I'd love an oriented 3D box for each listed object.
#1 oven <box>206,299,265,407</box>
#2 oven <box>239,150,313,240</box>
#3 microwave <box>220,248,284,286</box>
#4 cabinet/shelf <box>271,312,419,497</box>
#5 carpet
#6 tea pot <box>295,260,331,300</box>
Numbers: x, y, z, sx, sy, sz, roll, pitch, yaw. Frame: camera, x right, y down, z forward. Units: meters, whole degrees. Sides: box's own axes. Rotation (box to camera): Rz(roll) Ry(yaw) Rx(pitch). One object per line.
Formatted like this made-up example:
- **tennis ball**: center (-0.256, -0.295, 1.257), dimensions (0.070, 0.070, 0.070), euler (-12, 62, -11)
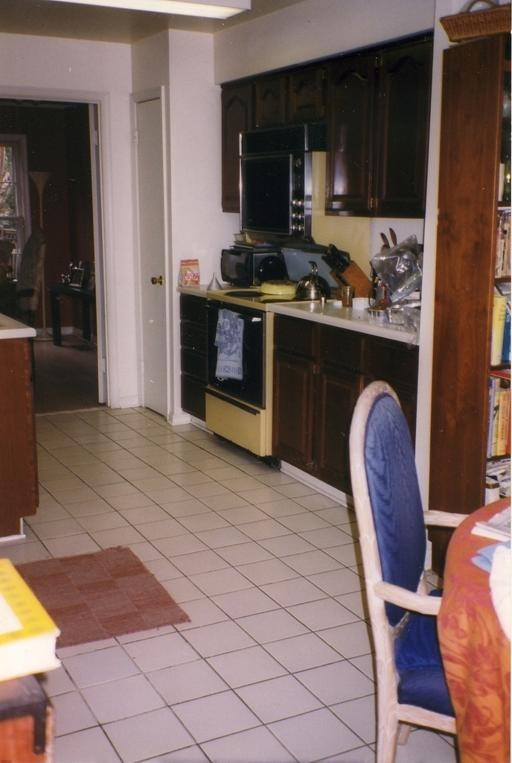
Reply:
- **oven**: center (-0.115, -0.191, 3.962), dimensions (0.385, 0.587, 0.582), euler (-2, 11, -29)
- **oven**: center (0.180, -1.216, 4.167), dimensions (0.311, 0.551, 0.614), euler (-13, 20, -42)
- **microwave**: center (0.001, -0.849, 4.461), dimensions (0.290, 0.273, 0.387), euler (-6, 14, -31)
- **cabinet/shelf**: center (0.379, 0.058, 2.731), dimensions (0.314, 0.763, 0.857), euler (-2, 11, -22)
- **carpet**: center (-0.622, 0.819, 2.473), dimensions (0.514, 0.622, 0.009), euler (-16, 39, 7)
- **tea pot**: center (0.319, -0.639, 3.917), dimensions (0.222, 0.260, 0.238), euler (2, 13, 0)
